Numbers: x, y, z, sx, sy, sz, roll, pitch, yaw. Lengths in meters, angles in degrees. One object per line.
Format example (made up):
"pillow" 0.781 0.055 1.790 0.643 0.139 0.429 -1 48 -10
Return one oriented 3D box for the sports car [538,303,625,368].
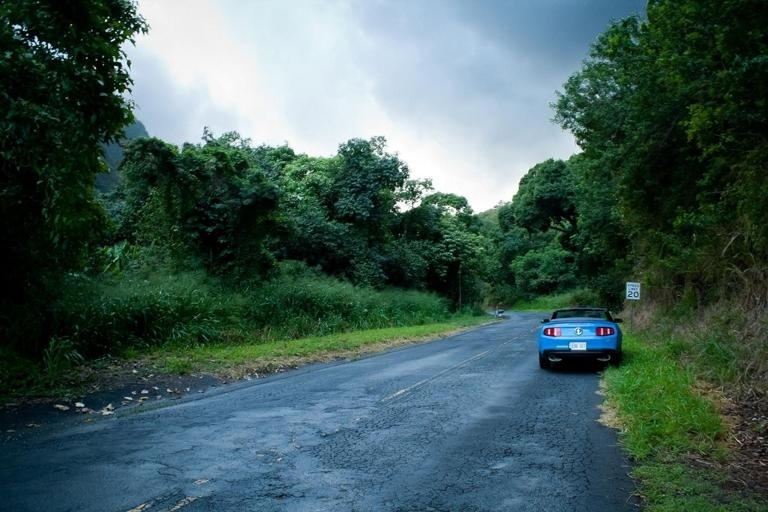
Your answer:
"sports car" 5.755 2.408 17.871 2.216 1.773 1.599 1 -2 12
